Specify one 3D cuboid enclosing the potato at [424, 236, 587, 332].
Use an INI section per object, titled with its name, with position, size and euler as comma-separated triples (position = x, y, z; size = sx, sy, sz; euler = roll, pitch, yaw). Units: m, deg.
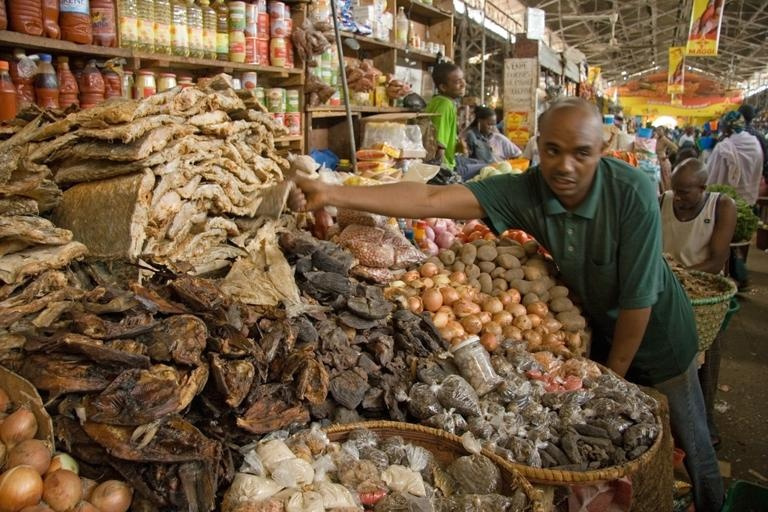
[potato]
position = 0.751, 0.171, 3.135
size = 0.724, 0.242, 0.566
euler = 27, -1, 31
